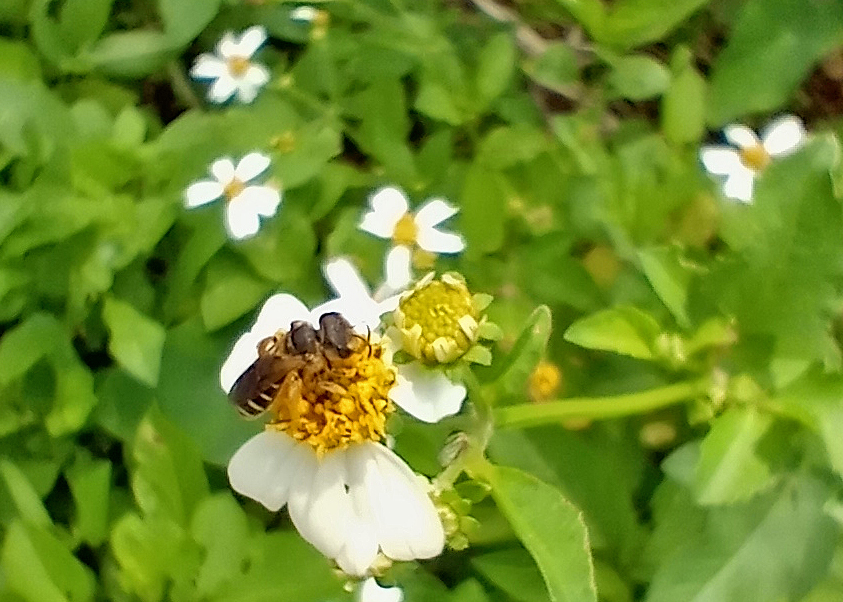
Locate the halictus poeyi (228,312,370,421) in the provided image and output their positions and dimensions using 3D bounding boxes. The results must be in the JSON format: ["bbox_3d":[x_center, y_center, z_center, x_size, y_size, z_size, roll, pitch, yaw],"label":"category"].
[{"bbox_3d":[-0.201,0.091,1.465,0.226,0.083,0.165,-24,31,-7],"label":"halictus poeyi"}]

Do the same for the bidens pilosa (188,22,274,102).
[{"bbox_3d":[-0.382,-0.459,1.857,0.158,0.031,0.158,-7,83,-1],"label":"bidens pilosa"}]

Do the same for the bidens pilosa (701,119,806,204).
[{"bbox_3d":[0.620,-0.280,1.778,0.139,0.220,0.049,33,73,9],"label":"bidens pilosa"}]

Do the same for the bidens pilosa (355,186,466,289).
[{"bbox_3d":[-0.017,-0.140,1.722,0.182,0.036,0.173,-29,84,-4],"label":"bidens pilosa"}]

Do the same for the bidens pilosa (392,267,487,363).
[{"bbox_3d":[0.027,0.026,1.508,0.132,0.060,0.148,3,85,-9],"label":"bidens pilosa"}]
